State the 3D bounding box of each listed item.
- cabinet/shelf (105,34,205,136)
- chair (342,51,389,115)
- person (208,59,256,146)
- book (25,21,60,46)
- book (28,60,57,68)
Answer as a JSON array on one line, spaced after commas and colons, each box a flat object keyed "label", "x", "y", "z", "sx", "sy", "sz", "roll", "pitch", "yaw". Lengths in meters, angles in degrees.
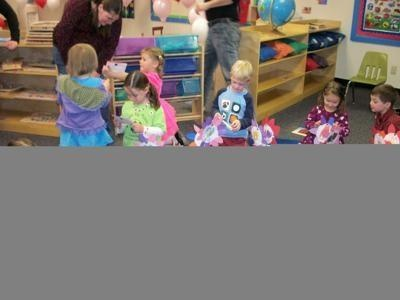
[{"label": "cabinet/shelf", "x": -0.435, "y": -0.726, "z": 3.770, "sx": 0.914, "sy": 0.947, "sz": 0.352, "roll": -4, "pitch": 9, "yaw": -12}, {"label": "chair", "x": 2.621, "y": -1.087, "z": 5.410, "sx": 0.479, "sy": 0.791, "sz": 0.571, "roll": 9, "pitch": 1, "yaw": 1}, {"label": "person", "x": 0.268, "y": -0.337, "z": 2.800, "sx": 0.345, "sy": 0.739, "sz": 0.818, "roll": 4, "pitch": 14, "yaw": 4}, {"label": "book", "x": -1.653, "y": -1.217, "z": 3.708, "sx": 0.344, "sy": 0.162, "sz": 0.361, "roll": 0, "pitch": 16, "yaw": 2}, {"label": "book", "x": -1.694, "y": -0.932, "z": 3.765, "sx": 0.214, "sy": 0.046, "sz": 0.208, "roll": 7, "pitch": 11, "yaw": 42}]
